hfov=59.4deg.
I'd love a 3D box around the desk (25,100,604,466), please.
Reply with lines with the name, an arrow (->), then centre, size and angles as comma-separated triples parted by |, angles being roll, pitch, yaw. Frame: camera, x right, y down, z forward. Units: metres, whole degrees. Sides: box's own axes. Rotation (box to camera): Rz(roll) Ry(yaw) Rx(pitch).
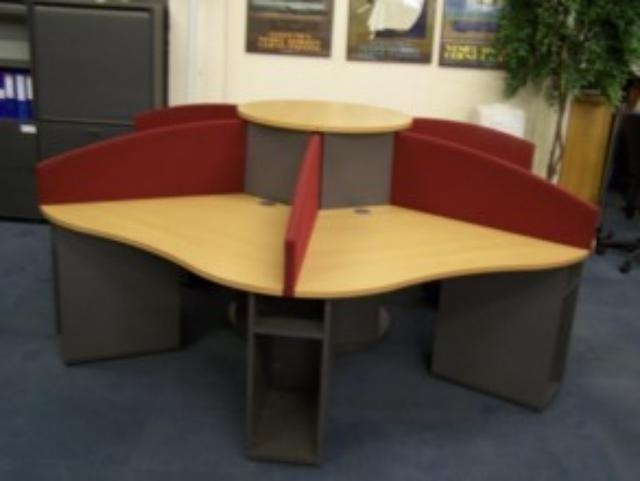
desk -> -0.040, 0.015, 1.923 | 1.349, 0.685, 1.454 | 3, 23, 0
